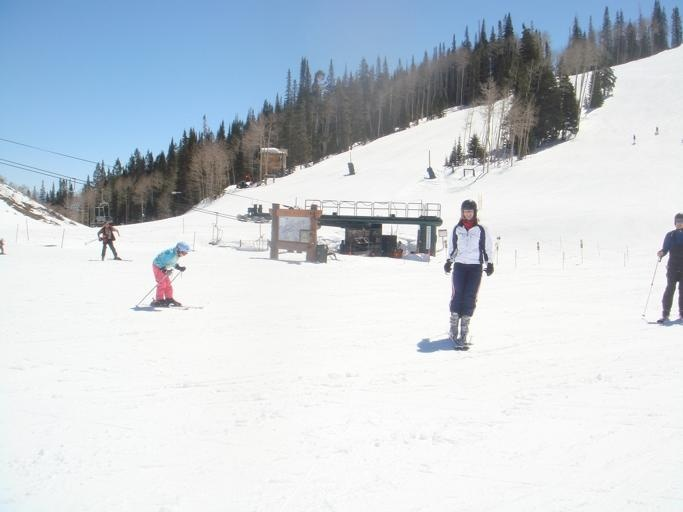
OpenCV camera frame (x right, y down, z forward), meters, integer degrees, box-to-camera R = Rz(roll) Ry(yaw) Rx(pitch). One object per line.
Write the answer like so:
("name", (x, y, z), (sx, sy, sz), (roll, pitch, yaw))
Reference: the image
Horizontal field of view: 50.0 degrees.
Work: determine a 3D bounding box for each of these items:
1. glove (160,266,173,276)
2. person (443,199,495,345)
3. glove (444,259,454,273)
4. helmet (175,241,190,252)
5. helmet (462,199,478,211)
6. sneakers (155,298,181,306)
("glove", (-4.694, 0.389, 19.656), (0.313, 0.244, 0.319), (0, 7, 1))
("person", (2.889, 0.380, 16.731), (1.023, 3.305, 0.869), (2, 6, 14))
("glove", (2.442, 0.227, 16.781), (0.211, 0.362, 0.138), (2, -3, -6))
("helmet", (-5.007, -0.314, 23.159), (0.354, 0.176, 0.507), (34, -6, -28))
("helmet", (2.910, -1.173, 16.740), (0.211, 0.310, 0.296), (1, 6, 9))
("sneakers", (-4.701, 1.258, 19.790), (0.634, 0.328, 0.258), (-2, 1, -10))
